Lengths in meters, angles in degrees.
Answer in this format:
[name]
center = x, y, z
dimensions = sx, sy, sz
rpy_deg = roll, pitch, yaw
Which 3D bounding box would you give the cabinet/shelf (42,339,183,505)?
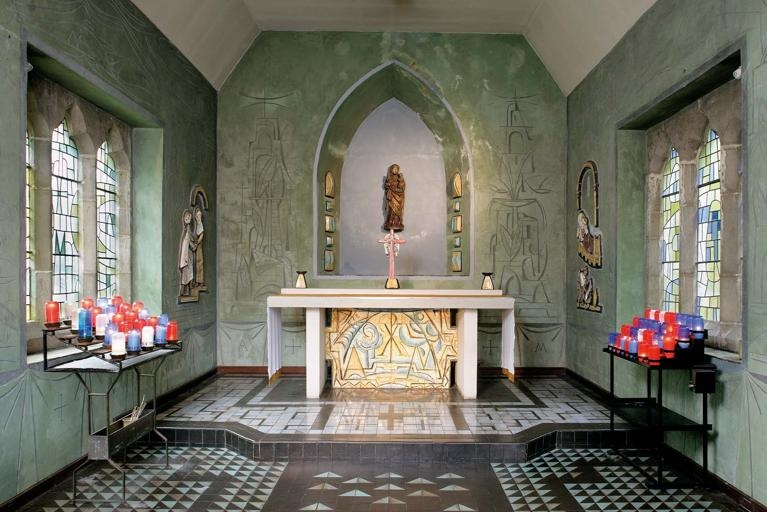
[cabinet/shelf]
center = -2.719, 1.513, 5.888
dimensions = 0.979, 1.624, 1.461
rpy_deg = -1, -1, 17

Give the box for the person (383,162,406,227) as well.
[person]
center = 0.155, -0.941, 8.953
dimensions = 0.334, 1.032, 0.344
rpy_deg = -1, -1, 7
